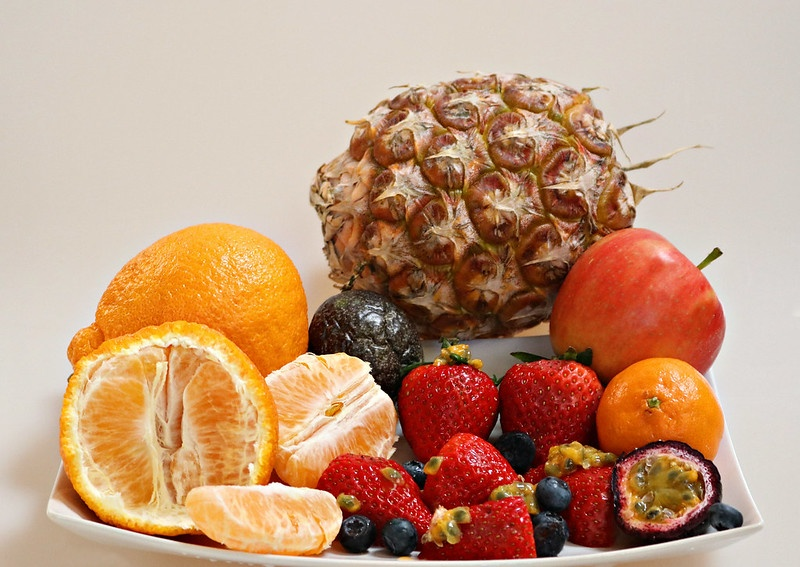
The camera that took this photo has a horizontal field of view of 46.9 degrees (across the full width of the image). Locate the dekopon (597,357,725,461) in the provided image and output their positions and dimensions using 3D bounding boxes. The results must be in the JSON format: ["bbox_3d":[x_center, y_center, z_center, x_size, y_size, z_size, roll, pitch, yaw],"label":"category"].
[{"bbox_3d":[0.681,0.325,2.427,0.383,0.245,0.321,7,17,18],"label":"dekopon"}]

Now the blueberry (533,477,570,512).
[{"bbox_3d":[0.381,0.528,2.331,0.077,0.100,0.080,0,8,4],"label":"blueberry"}]

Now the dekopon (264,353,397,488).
[{"bbox_3d":[-0.194,0.341,2.515,0.331,0.324,0.132,-46,-3,-34],"label":"dekopon"}]

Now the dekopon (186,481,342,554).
[{"bbox_3d":[-0.312,0.553,2.135,0.360,0.162,0.063,2,-8,-15],"label":"dekopon"}]

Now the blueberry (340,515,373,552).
[{"bbox_3d":[-0.107,0.607,2.224,0.080,0.088,0.078,0,-5,4],"label":"blueberry"}]

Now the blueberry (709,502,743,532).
[{"bbox_3d":[0.795,0.572,2.244,0.055,0.041,0.072,0,-22,7],"label":"blueberry"}]

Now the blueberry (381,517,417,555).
[{"bbox_3d":[0.002,0.622,2.266,0.077,0.099,0.083,-2,0,5],"label":"blueberry"}]

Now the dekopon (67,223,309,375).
[{"bbox_3d":[-0.591,0.003,2.703,0.650,0.425,0.564,-22,27,-31],"label":"dekopon"}]

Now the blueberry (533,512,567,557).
[{"bbox_3d":[0.363,0.609,2.228,0.081,0.108,0.091,2,-12,-2],"label":"blueberry"}]
